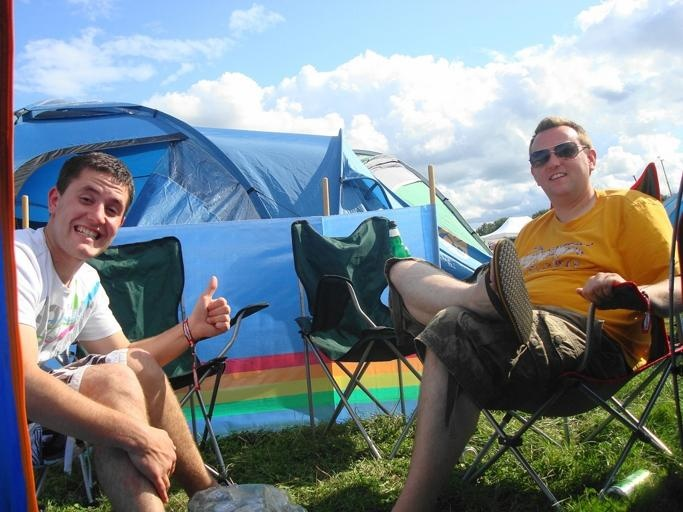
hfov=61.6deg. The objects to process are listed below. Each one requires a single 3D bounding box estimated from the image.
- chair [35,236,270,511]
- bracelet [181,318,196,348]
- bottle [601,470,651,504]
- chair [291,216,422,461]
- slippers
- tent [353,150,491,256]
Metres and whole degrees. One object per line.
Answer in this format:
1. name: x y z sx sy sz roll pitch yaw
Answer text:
1. chair: -0.781 0.435 2.981 1.164 1.518 1.029 0 -15 -25
2. bracelet: -0.608 0.305 2.299 0.031 0.095 0.067 -17 -25 11
3. bottle: 0.987 0.783 1.952 0.193 0.089 0.078 -6 -3 -16
4. chair: 0.185 0.369 3.038 0.783 1.187 0.763 1 -6 -30
5. slippers: 0.554 0.110 1.959 0.127 0.384 0.138 -32 17 -38
6. tent: 1.059 -0.818 7.770 1.647 0.782 1.496 9 9 40
